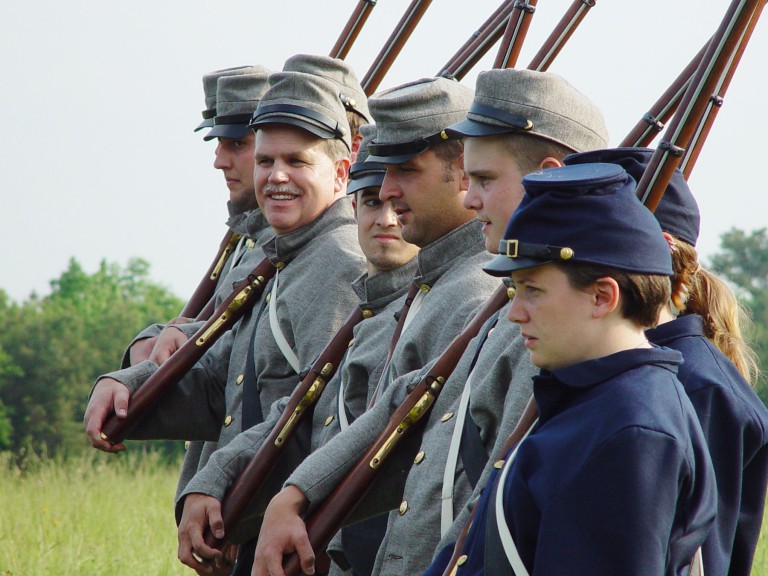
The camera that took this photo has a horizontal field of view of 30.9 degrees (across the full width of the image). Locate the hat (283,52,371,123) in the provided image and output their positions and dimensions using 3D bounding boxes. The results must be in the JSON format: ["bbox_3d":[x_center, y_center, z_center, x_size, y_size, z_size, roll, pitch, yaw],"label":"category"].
[{"bbox_3d":[-0.339,-1.193,8.399,0.662,0.328,0.475,11,-3,-39],"label":"hat"}]

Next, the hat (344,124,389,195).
[{"bbox_3d":[-0.085,-0.653,7.151,0.247,0.338,0.217,0,17,8],"label":"hat"}]

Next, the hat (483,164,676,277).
[{"bbox_3d":[0.727,-0.249,5.268,0.809,0.422,0.566,-5,12,-12],"label":"hat"}]
